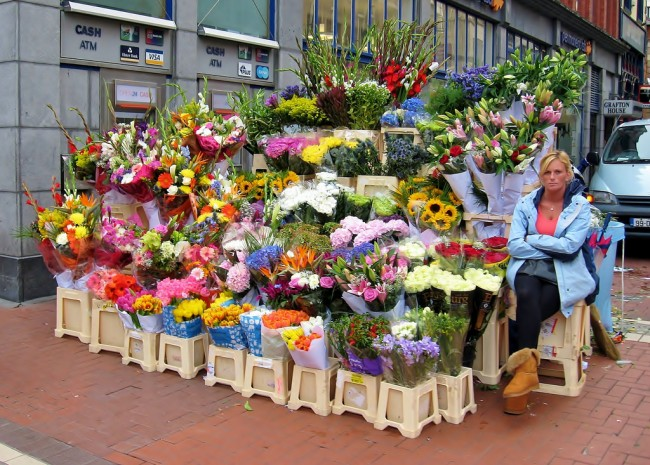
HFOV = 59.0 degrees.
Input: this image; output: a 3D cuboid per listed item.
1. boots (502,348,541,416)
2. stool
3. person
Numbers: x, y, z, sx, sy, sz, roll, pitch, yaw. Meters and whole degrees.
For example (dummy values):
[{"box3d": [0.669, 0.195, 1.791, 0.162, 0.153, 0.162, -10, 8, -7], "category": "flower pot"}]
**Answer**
[{"box3d": [1.644, 1.230, 4.861, 0.317, 0.558, 0.326, 1, 11, 6], "category": "boots"}, {"box3d": [2.207, 1.105, 5.566, 0.871, 1.159, 0.915, 0, 2, 32], "category": "stool"}, {"box3d": [1.893, 0.375, 5.098, 1.128, 2.128, 0.690, -10, 14, -42], "category": "person"}]
